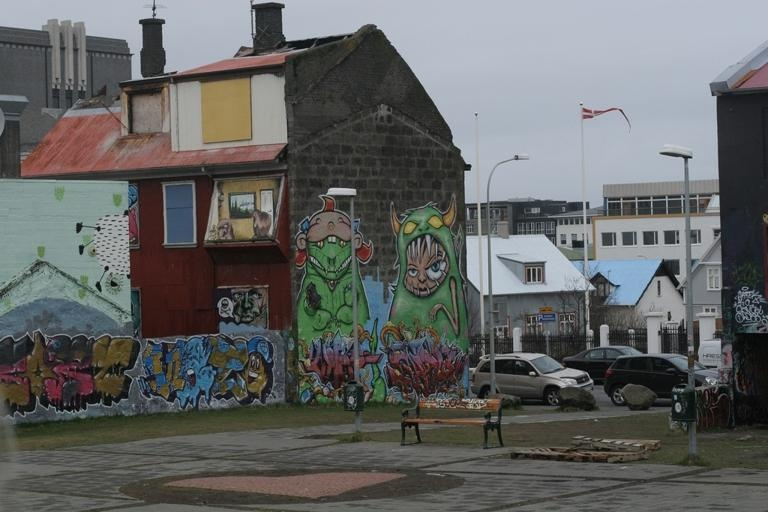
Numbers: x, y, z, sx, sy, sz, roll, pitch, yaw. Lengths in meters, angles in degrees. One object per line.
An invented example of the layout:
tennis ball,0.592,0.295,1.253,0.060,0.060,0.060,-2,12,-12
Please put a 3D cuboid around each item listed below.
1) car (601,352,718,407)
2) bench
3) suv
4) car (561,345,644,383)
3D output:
car,11.010,4.747,63.914,4.804,1.991,2.245,0,2,34
bench,2.048,5.014,50.244,3.236,1.374,1.059,-3,-1,38
suv,5.837,4.775,65.092,4.174,1.826,2.116,-3,-2,22
car,9.511,4.828,71.979,4.929,1.942,2.471,0,-2,-15
